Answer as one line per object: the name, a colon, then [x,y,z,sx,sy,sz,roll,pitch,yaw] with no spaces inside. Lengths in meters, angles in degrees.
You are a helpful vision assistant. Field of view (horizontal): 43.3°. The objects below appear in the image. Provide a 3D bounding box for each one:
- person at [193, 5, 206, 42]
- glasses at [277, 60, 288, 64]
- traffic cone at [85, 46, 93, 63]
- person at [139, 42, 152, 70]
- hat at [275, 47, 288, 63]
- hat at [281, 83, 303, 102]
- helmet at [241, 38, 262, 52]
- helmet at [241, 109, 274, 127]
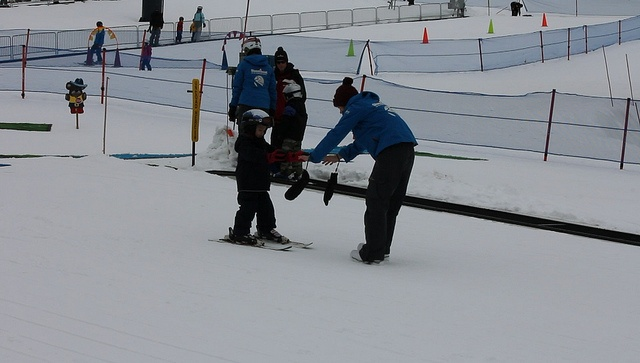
person: [-6.125,-7.758,40.491,0.576,1.654,0.980,5,7,-10]
glasses: [-1.018,-3.110,21.120,0.277,0.101,0.162,2,8,-17]
traffic cone: [-9.535,-5.157,33.296,0.324,0.678,0.772,4,7,-15]
person: [-6.778,-4.811,31.433,0.467,1.024,1.876,4,7,-13]
hat: [-1.058,-3.330,21.282,0.406,0.389,0.522,-3,9,1]
hat: [-0.730,-2.289,20.631,0.513,0.405,0.352,-11,34,2]
helmet: [-1.749,-3.534,21.041,0.408,0.386,0.506,-11,18,-37]
helmet: [-1.396,-1.417,18.055,0.597,0.267,0.392,6,-1,5]
